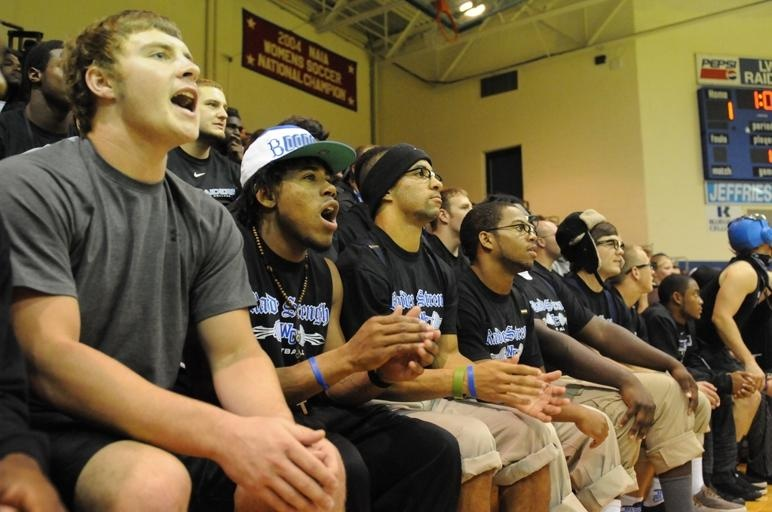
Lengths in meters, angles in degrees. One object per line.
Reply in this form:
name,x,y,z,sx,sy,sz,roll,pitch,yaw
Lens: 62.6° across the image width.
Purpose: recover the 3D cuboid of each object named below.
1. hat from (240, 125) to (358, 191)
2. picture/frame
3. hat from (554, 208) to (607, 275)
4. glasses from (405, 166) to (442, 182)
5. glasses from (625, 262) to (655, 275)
hat,-0.496,-0.526,3.057,0.457,0.225,0.294,-19,-2,44
picture/frame,-1.464,-3.144,10.209,0.024,0.725,1.990,-16,-25,38
hat,1.524,-0.104,4.997,0.389,0.498,0.327,0,1,43
glasses,0.224,-0.446,3.505,0.229,0.084,0.079,-1,1,-34
glasses,2.064,0.101,5.229,0.173,0.054,0.173,-6,-5,12
